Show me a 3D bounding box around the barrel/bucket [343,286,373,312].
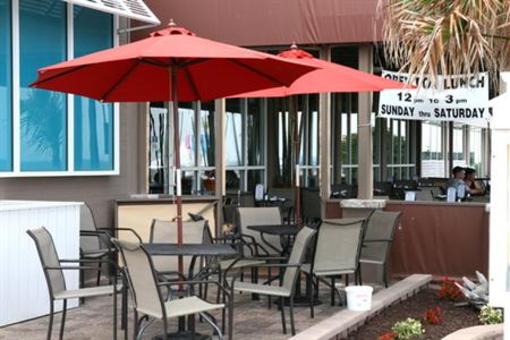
[{"bbox_3d":[1.259,1.535,7.133,0.482,0.268,0.504,-2,-5,0],"label":"barrel/bucket"}]

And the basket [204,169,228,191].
[{"bbox_3d":[-0.923,0.221,13.789,0.559,0.749,0.591,-2,-3,13],"label":"basket"}]

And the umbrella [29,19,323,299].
[{"bbox_3d":[-1.177,-0.247,8.174,3.028,3.034,3.143,10,18,30],"label":"umbrella"}]

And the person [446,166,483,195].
[{"bbox_3d":[4.374,0.203,12.357,0.813,0.654,0.567,0,3,7],"label":"person"}]
